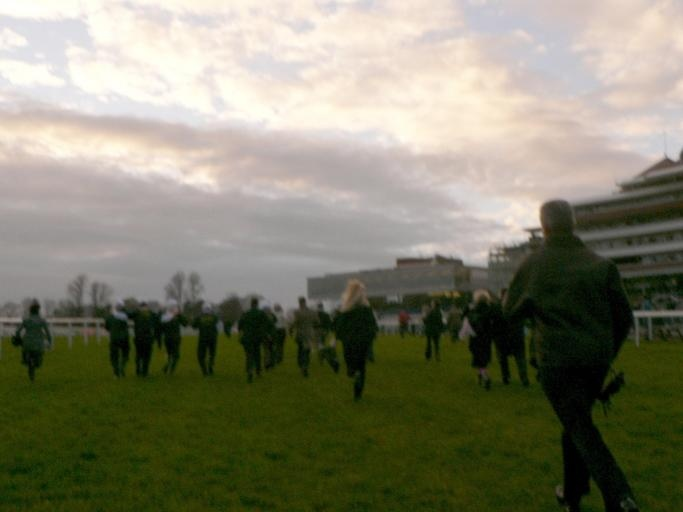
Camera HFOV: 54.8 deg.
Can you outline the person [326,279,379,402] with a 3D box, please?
[{"bbox_3d":[0.292,1.753,13.723,0.790,2.492,0.850,-1,-1,5],"label":"person"}]
